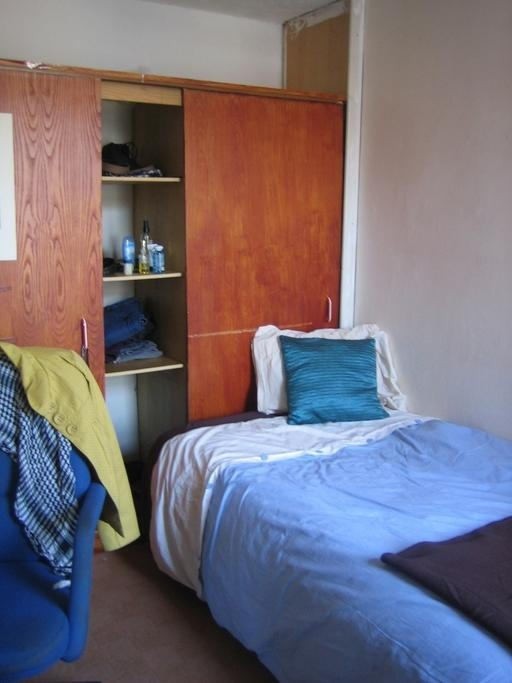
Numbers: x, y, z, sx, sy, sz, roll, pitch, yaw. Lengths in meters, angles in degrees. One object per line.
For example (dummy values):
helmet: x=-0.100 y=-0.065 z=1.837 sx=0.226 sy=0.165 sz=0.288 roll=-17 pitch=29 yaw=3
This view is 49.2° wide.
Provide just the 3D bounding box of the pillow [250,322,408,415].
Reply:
pillow: x=0.296 y=0.188 z=2.507 sx=0.511 sy=0.129 sz=0.658 roll=9 pitch=41 yaw=12
